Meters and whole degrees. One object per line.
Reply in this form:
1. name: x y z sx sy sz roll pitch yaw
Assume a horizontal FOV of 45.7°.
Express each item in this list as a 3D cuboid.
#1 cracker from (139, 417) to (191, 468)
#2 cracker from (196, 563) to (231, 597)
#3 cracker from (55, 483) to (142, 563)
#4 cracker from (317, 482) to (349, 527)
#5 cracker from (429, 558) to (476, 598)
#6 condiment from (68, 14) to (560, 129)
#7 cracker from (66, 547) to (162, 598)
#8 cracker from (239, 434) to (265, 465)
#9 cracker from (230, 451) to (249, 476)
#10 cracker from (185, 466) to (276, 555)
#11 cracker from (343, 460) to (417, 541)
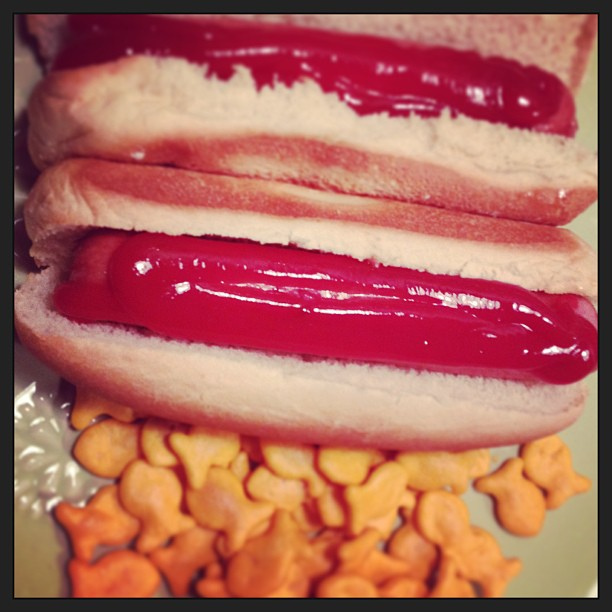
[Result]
1. cracker: -0.242 0.233 1.199 0.084 0.026 0.084 11 71 -6
2. cracker: -0.145 0.445 1.174 0.054 0.015 0.051 2 38 5
3. cracker: -0.327 0.334 1.143 0.118 0.028 0.117 -20 75 -21
4. cracker: 0.049 0.331 1.209 0.057 0.074 0.018 -5 -6 0
5. cracker: 0.250 0.439 1.172 0.058 0.018 0.059 5 71 -10
6. condiment: 0.020 -0.359 1.113 0.763 0.167 0.086 0 38 2
7. cracker: -0.311 0.434 1.172 0.146 0.044 0.082 -9 38 -9
8. cracker: -0.091 0.240 1.228 0.035 0.056 0.013 -10 4 14
9. cracker: -0.109 0.266 1.223 0.028 0.036 0.012 8 -4 -32
10. cracker: -0.125 0.332 1.177 0.151 0.037 0.117 43 84 18
11. cracker: 0.123 0.314 1.258 0.135 0.124 0.122 -7 25 -15
